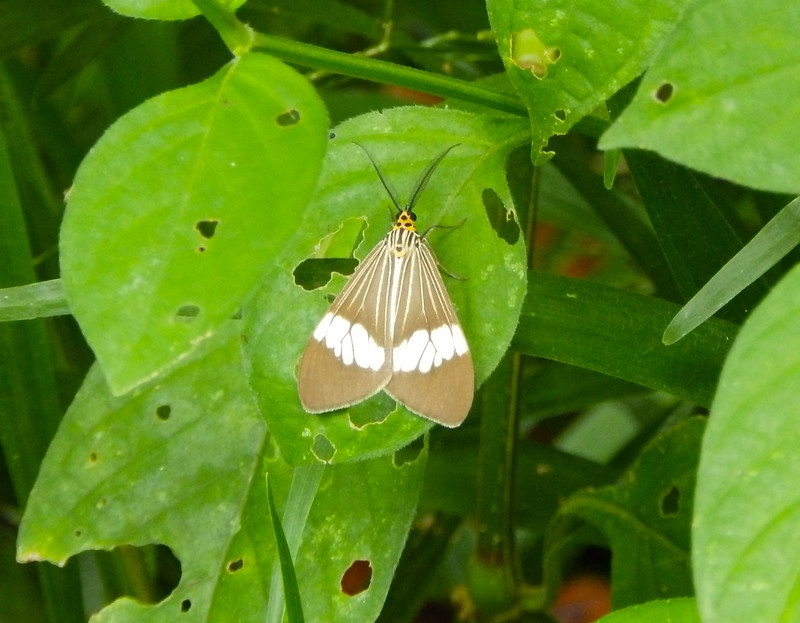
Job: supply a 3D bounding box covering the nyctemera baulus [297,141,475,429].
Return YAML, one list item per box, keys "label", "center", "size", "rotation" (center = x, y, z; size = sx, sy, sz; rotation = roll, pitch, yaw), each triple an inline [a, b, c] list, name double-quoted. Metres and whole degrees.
- label: "nyctemera baulus"
  center: [0.004, -0.029, 1.364]
  size: [0.228, 0.467, 0.124]
  rotation: [3, -35, 10]
